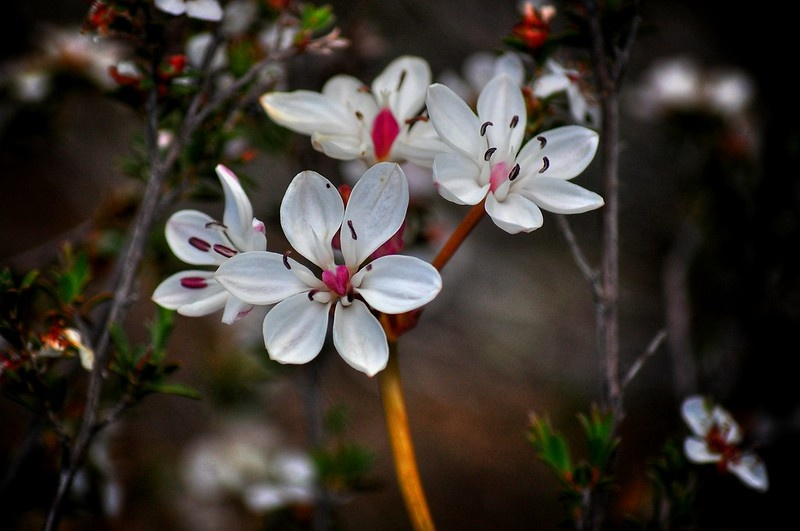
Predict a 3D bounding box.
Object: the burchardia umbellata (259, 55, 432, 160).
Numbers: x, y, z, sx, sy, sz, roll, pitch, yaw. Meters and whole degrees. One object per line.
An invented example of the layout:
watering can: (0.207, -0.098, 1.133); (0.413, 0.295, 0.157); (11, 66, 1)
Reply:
burchardia umbellata: (-0.136, -0.466, 2.504); (0.533, 0.308, 0.342); (1, 13, 2)

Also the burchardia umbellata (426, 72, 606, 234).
burchardia umbellata: (0.352, -0.292, 2.498); (0.554, 0.267, 0.568); (37, -5, 13)

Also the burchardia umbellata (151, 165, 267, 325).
burchardia umbellata: (-0.490, -0.037, 2.371); (0.204, 0.435, 0.371); (9, -23, -38)

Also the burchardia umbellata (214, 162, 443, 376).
burchardia umbellata: (-0.152, 0.009, 2.306); (0.582, 0.200, 0.629); (-21, 62, -7)
